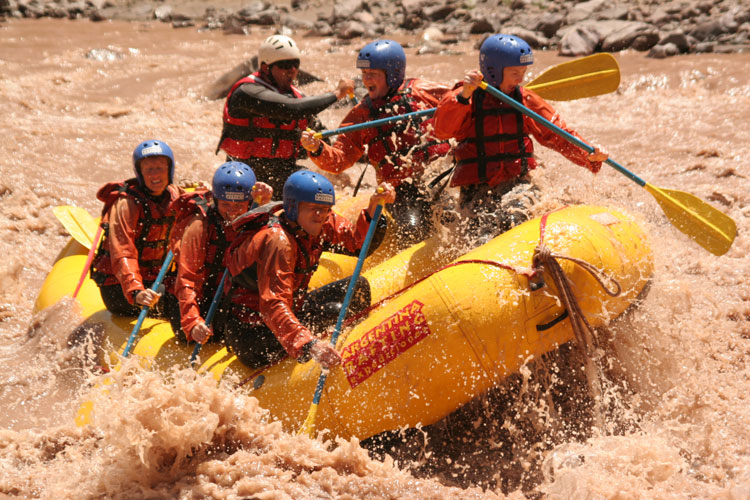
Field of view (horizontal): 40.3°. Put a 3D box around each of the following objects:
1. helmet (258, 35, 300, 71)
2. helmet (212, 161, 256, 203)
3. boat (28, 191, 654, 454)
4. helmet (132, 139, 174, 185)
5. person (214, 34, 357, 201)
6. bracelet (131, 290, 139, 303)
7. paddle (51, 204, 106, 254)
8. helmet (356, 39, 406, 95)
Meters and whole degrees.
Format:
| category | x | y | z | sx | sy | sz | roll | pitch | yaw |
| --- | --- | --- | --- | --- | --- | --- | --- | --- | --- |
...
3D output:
| category | x | y | z | sx | sy | sz | roll | pitch | yaw |
| --- | --- | --- | --- | --- | --- | --- | --- | --- | --- |
| helmet | -1.034 | -2.142 | 10.915 | 0.388 | 0.360 | 0.297 | -13 | 14 | 20 |
| helmet | -1.340 | -0.689 | 9.818 | 0.297 | 0.326 | 0.414 | 6 | 24 | 11 |
| boat | -0.156 | 0.740 | 9.743 | 4.242 | 1.376 | 2.549 | -3 | 32 | 30 |
| helmet | -2.211 | -0.932 | 10.245 | 0.343 | 0.445 | 0.411 | -4 | 42 | -9 |
| person | -1.035 | -1.076 | 11.223 | 1.507 | 2.398 | 1.116 | 10 | 19 | 6 |
| bracelet | -2.307 | 0.445 | 9.781 | 0.038 | 0.109 | 0.084 | 16 | 35 | -14 |
| paddle | -3.256 | -0.260 | 11.203 | 0.285 | 0.075 | 0.777 | 21 | 20 | -46 |
| helmet | 0.059 | -1.915 | 10.626 | 0.539 | 0.551 | 0.425 | -4 | 1 | -33 |
